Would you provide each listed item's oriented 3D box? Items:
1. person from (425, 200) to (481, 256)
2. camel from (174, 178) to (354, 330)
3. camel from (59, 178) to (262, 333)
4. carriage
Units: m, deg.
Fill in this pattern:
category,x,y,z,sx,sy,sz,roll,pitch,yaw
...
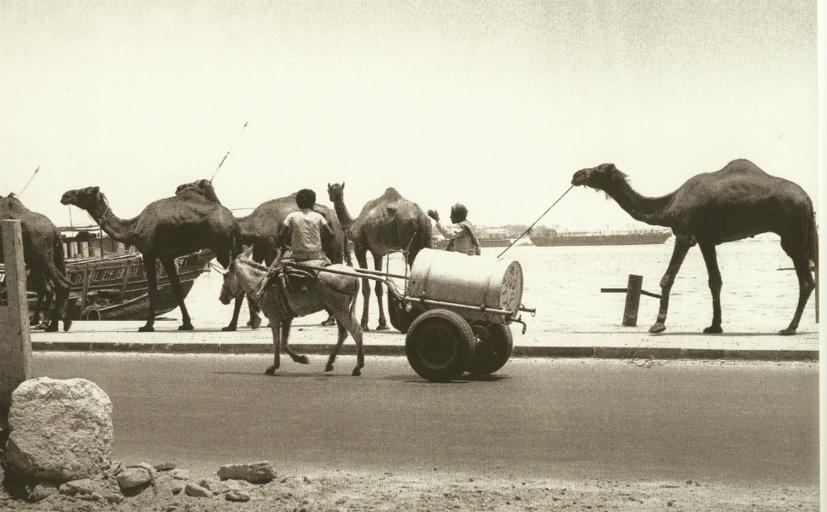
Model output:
category,x,y,z,sx,sy,sz,roll,pitch,yaw
person,0.720,-0.374,20.945,0.757,0.977,0.632,-9,23,-8
camel,-2.703,0.064,21.716,2.411,2.951,5.041,0,-1,-37
camel,-5.116,0.234,24.473,4.942,2.877,2.027,-2,-3,16
carriage,-0.767,0.955,20.068,5.414,1.908,2.046,2,-2,19
